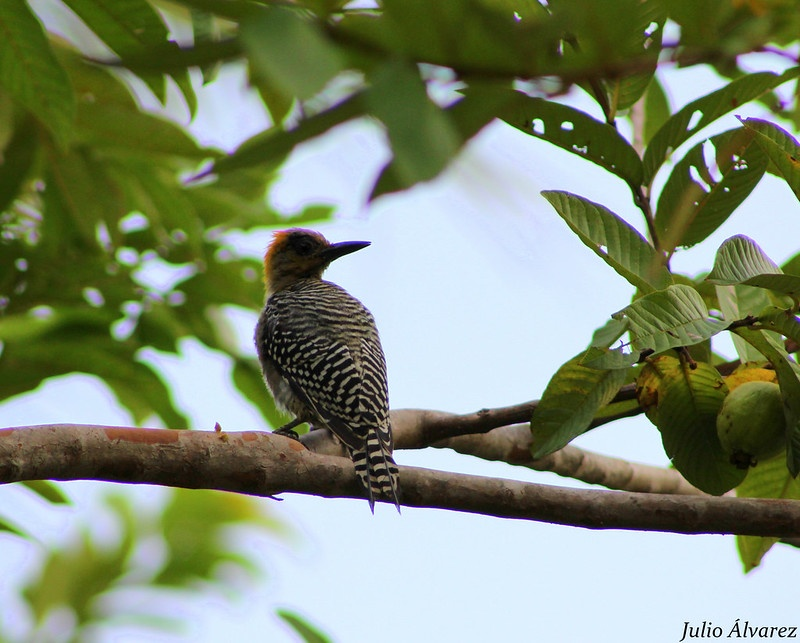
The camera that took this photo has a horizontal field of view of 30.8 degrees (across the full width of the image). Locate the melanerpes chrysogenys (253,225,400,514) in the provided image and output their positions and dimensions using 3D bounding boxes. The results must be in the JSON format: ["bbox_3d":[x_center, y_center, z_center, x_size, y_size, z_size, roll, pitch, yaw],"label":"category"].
[{"bbox_3d":[-0.264,0.139,6.705,0.514,0.945,1.734,1,13,-25],"label":"melanerpes chrysogenys"}]
